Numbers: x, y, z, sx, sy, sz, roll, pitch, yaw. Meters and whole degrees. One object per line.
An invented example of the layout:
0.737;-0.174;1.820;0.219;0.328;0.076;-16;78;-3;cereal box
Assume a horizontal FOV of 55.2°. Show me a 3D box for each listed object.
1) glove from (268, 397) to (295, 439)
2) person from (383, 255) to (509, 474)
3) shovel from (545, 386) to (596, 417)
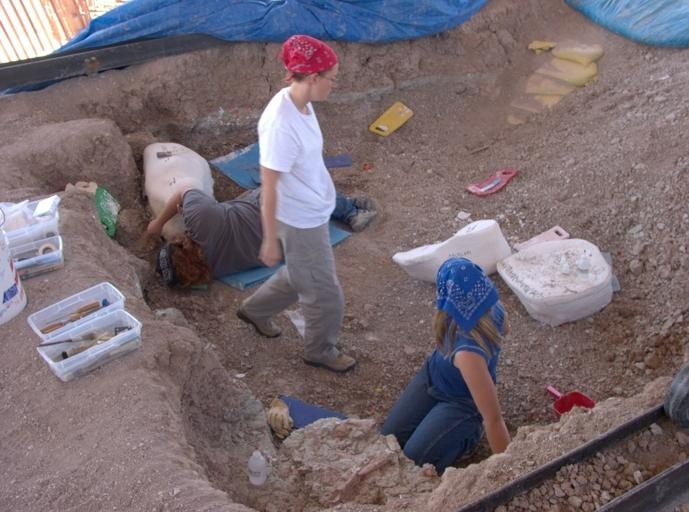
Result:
-0.422;1.049;4.304;0.131;0.072;0.215;1;54;-25;glove
0.677;0.760;4.059;0.729;1.327;0.807;10;43;5;person
1.583;0.968;4.561;0.295;0.168;0.260;8;43;2;shovel
